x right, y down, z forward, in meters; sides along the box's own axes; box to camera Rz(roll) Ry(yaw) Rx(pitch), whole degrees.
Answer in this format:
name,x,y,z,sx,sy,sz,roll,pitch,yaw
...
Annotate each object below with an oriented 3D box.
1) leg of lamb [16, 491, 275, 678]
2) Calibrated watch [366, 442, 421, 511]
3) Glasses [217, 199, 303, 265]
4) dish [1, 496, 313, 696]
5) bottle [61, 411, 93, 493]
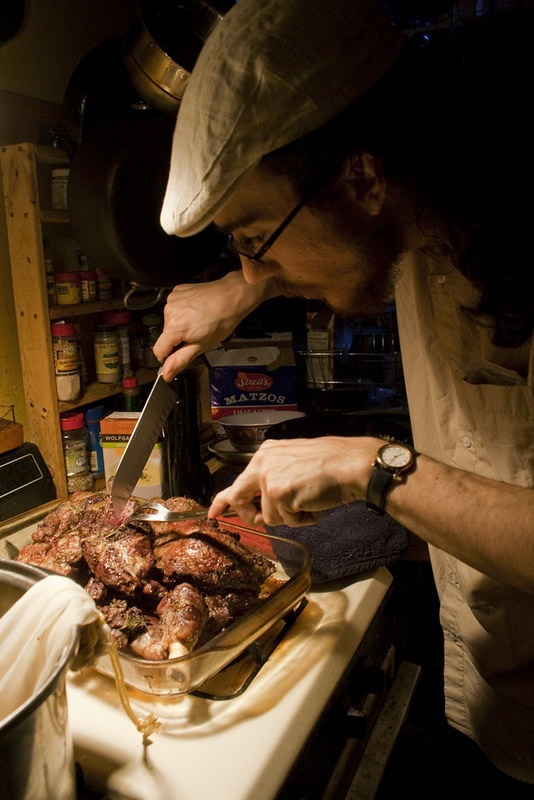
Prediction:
name,x,y,z,sx,sy,sz,roll,pitch,yaw
leg of lamb,-0.239,0.287,1.070,0.313,0.092,0.269,25,28,22
Calibrated watch,0.169,0.107,0.815,0.043,0.066,0.064,30,36,15
Glasses,0.003,-0.229,0.842,0.064,0.018,0.062,-42,11,-17
dish,-0.228,0.257,1.012,0.491,0.067,0.285,4,7,40
bottle,-0.495,0.158,1.685,0.112,0.189,0.109,-11,-5,-1
